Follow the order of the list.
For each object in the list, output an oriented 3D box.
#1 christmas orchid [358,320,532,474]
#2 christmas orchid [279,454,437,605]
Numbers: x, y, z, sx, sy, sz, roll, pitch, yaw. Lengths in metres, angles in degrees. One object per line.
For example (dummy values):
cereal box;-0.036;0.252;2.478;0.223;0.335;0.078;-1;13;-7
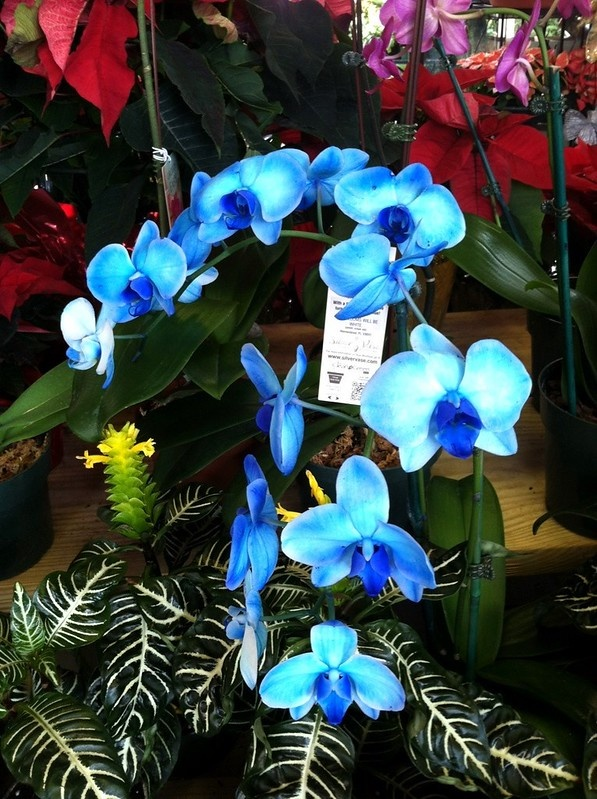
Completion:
christmas orchid;0.092;0.006;0.443;0.112;0.094;0.037;-14;-1;1
christmas orchid;0.047;0.098;0.483;0.107;0.101;0.046;4;31;18
